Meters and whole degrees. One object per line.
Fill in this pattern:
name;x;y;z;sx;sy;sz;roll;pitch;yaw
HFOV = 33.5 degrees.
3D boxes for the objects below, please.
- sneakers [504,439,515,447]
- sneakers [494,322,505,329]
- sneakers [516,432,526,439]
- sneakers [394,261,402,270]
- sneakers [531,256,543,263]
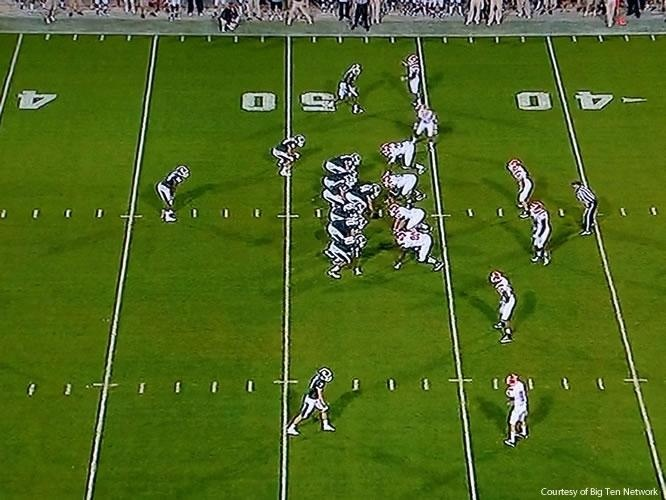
sneakers;3.751;4.046;23.438;0.249;0.085;0.136;19;41;11
sneakers;3.757;1.665;24.958;0.211;0.282;0.081;14;64;-36
sneakers;3.993;3.911;23.545;0.126;0.047;0.184;2;17;15
sneakers;1.519;0.331;25.867;0.190;0.089;0.216;6;39;-5
sneakers;4.782;0.182;25.979;0.245;0.122;0.132;12;41;2
